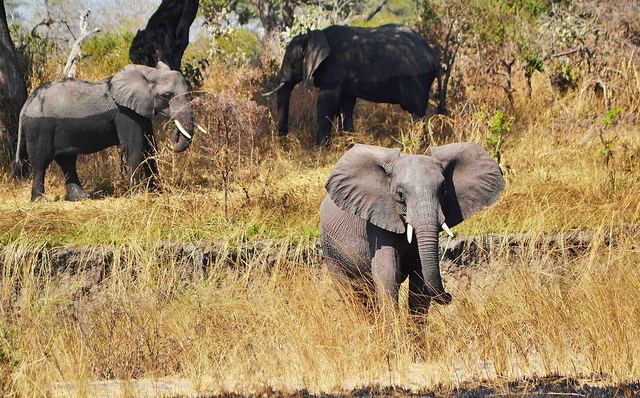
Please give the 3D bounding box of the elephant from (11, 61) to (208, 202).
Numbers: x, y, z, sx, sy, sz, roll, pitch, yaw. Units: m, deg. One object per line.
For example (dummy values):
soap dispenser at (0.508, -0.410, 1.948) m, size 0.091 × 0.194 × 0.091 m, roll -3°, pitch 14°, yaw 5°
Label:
elephant at (-3.440, -1.065, 14.471) m, size 3.194 × 2.042 × 1.452 m, roll -6°, pitch 13°, yaw -13°

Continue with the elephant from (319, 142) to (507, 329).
elephant at (1.065, 0.570, 12.225) m, size 2.271 × 2.475 × 2.966 m, roll -3°, pitch -2°, yaw -13°
